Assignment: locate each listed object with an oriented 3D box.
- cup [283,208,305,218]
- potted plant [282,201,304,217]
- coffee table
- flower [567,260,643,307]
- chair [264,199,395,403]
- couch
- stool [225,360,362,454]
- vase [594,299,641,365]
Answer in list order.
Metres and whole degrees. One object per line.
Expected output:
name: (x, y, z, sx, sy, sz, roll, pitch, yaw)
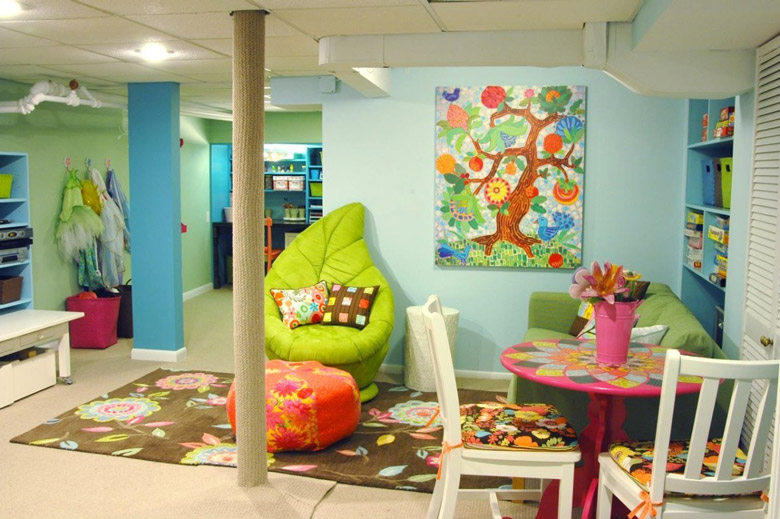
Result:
cup: (-1.673, -0.790, 9.420, 0.251, 0.141, 0.238, 1, 7, 0)
potted plant: (-1.663, -0.845, 9.530, 0.381, 0.326, 0.235, -1, 5, -4)
coffee table: (1.290, 0.964, 3.580, 1.311, 0.863, 1.234, 0, 5, -2)
flower: (1.331, 0.142, 3.372, 0.406, 0.254, 0.240, 4, 13, 18)
chair: (-0.539, 0.272, 5.601, 1.558, 1.811, 1.863, -1, 19, -1)
couch: (1.697, 1.153, 4.335, 1.169, 0.879, 1.876, -2, 9, 4)
stool: (-0.751, 1.080, 4.239, 0.846, 0.405, 0.827, 0, 7, 17)
vase: (1.375, 0.443, 3.338, 0.385, 0.355, 0.237, 1, -10, 37)
